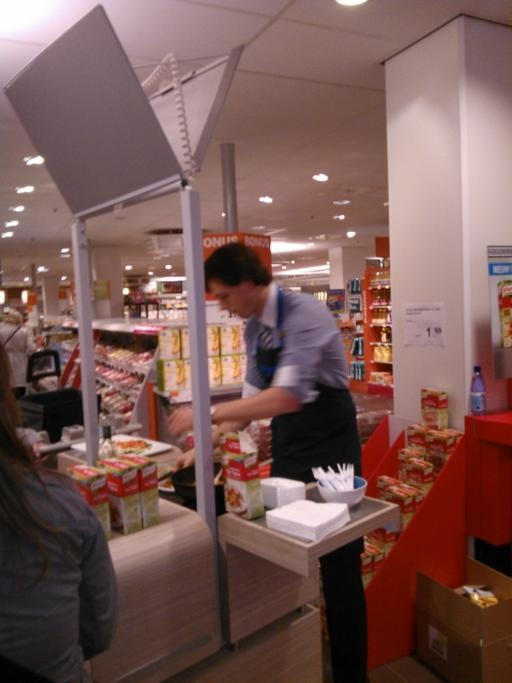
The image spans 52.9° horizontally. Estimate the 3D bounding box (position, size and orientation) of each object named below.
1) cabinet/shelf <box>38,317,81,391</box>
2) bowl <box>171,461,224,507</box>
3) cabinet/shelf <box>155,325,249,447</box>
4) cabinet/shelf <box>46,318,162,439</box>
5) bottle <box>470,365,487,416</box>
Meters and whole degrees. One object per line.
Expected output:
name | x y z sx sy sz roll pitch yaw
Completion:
cabinet/shelf | -2.318 0.156 6.145 0.482 0.955 0.992 -1 0 -19
bowl | -0.188 0.459 1.636 0.190 0.068 0.190 1 5 0
cabinet/shelf | -0.531 0.387 4.169 0.300 0.929 0.944 -2 1 31
cabinet/shelf | -1.155 0.287 4.117 0.371 0.688 1.012 -1 5 -30
bottle | 1.311 0.287 3.083 0.088 0.281 0.155 -4 3 23
